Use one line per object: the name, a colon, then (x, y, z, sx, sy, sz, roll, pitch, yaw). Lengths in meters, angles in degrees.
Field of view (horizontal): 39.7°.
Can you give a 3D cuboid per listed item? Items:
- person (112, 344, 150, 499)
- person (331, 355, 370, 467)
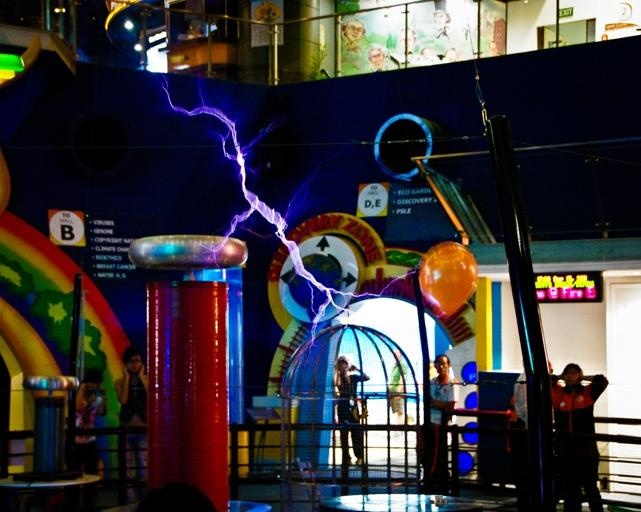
person: (-1.658, 1.464, 7.754, 0.264, 1.240, 0.678, 1, -14, -12)
person: (0.229, 1.138, 6.603, 0.258, 0.787, 0.227, -6, -3, 13)
